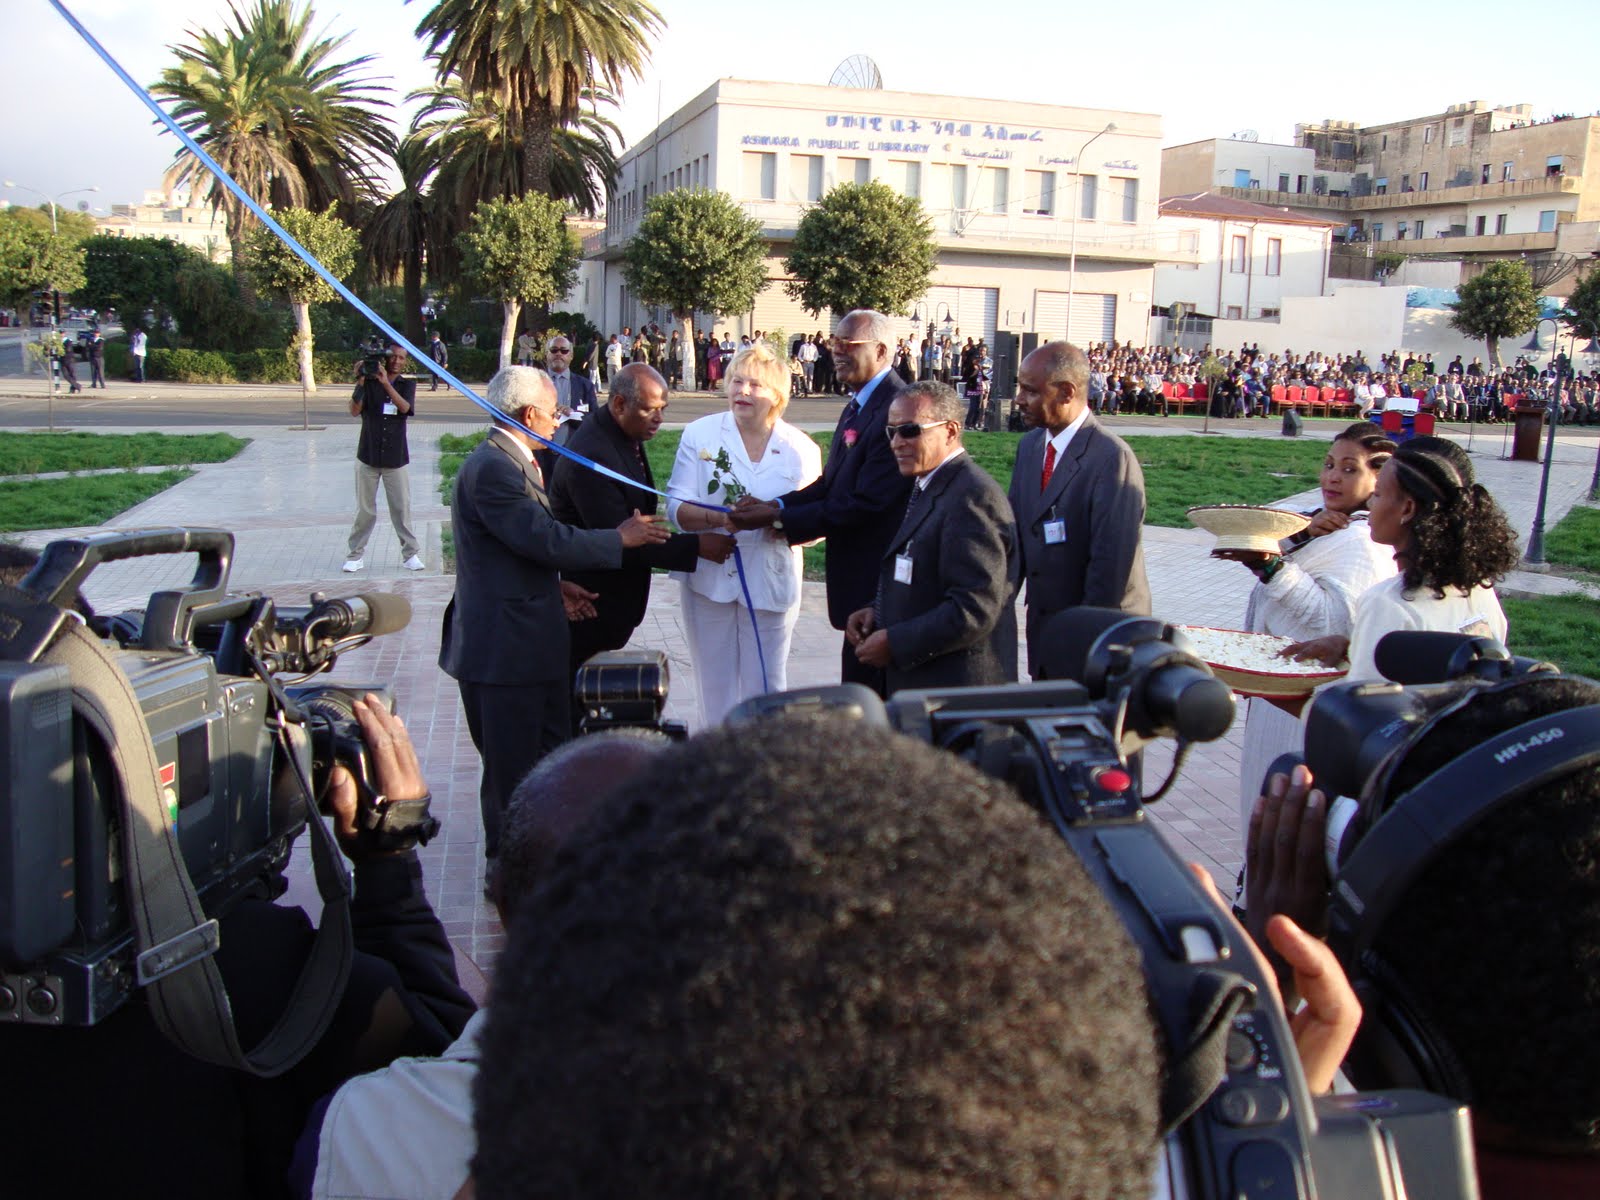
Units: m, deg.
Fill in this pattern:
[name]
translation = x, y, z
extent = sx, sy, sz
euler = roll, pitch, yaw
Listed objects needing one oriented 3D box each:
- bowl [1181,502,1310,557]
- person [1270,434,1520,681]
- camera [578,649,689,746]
[bowl]
translation = 1.456, -0.235, 3.766
extent = 0.236, 0.117, 0.261
euler = -2, 2, -19
[person]
translation = 1.860, -0.143, 3.424
extent = 0.420, 0.802, 0.439
euler = 0, -10, 34
[camera]
translation = -0.428, 0.256, 2.964
extent = 0.252, 0.295, 0.248
euler = 5, 13, -4
